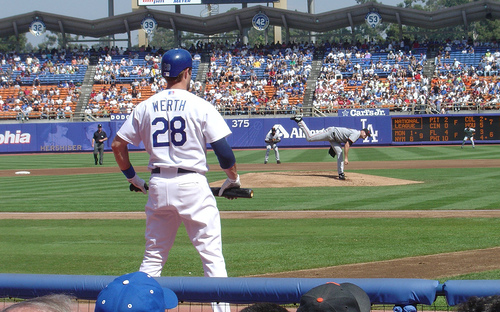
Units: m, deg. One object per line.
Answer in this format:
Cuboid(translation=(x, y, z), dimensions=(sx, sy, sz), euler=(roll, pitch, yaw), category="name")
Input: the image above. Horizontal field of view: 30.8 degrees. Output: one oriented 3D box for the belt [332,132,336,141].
Cuboid(translation=(5.430, -1.286, 59.264), dimensions=(0.222, 0.549, 0.114), euler=(0, 5, 4), category="belt")
